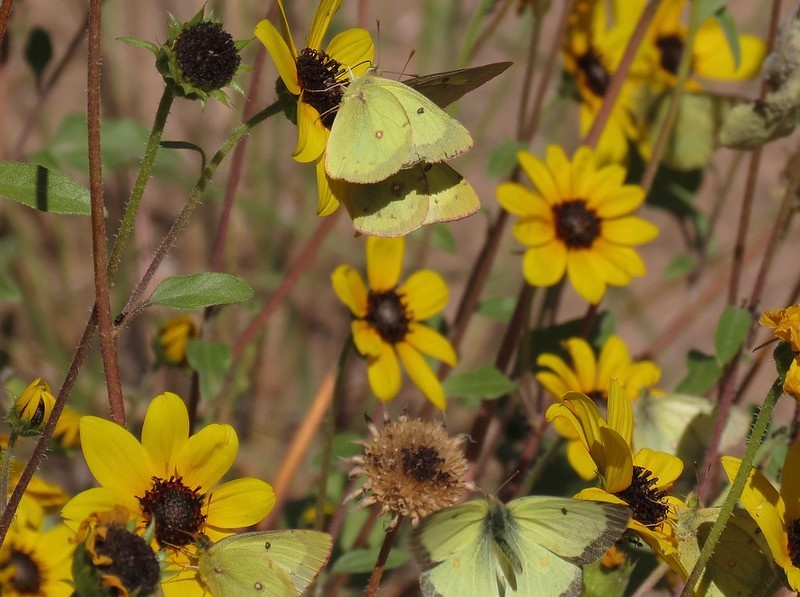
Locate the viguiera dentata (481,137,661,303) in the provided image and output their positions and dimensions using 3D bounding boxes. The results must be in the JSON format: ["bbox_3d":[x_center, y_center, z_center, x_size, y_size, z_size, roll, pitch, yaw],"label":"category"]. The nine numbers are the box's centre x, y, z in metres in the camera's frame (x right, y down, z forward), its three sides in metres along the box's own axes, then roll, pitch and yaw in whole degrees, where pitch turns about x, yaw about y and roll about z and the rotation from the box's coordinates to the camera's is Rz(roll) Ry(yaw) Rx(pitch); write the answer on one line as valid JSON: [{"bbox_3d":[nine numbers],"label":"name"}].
[{"bbox_3d":[0.348,-0.123,2.040,0.273,0.290,0.078,39,-8,10],"label":"viguiera dentata"}]

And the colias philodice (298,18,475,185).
[{"bbox_3d":[-0.069,-0.312,1.973,0.180,0.374,0.269,12,-4,-43],"label":"colias philodice"}]

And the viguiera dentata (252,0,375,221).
[{"bbox_3d":[-0.153,-0.324,1.834,0.158,0.387,0.330,-5,-10,20],"label":"viguiera dentata"}]

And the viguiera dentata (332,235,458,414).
[{"bbox_3d":[-0.004,0.041,2.006,0.126,0.321,0.257,-9,-11,38],"label":"viguiera dentata"}]

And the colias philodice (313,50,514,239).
[{"bbox_3d":[0.008,-0.263,1.927,0.214,0.294,0.319,-44,-14,11],"label":"colias philodice"}]
